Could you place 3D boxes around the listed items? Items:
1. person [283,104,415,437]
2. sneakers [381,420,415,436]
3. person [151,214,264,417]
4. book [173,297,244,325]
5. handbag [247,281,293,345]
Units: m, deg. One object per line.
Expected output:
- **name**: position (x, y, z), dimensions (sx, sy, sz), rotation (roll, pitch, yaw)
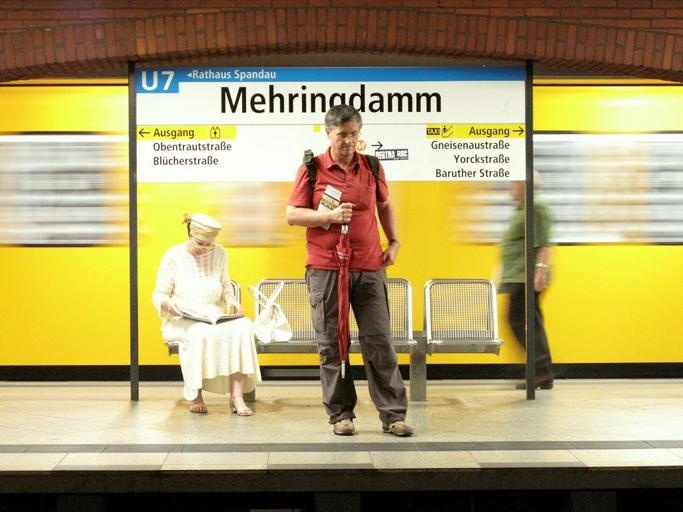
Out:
- **person**: position (0.064, 0.132, 6.553), dimensions (0.995, 2.631, 0.628), rotation (1, 7, 2)
- **sneakers**: position (0.437, 1.361, 6.455), dimensions (0.099, 0.095, 0.247), rotation (5, -10, -44)
- **person**: position (-1.139, 0.538, 7.323), dimensions (0.949, 1.797, 0.669), rotation (7, 9, 43)
- **book**: position (-1.181, 0.499, 7.270), dimensions (0.566, 0.161, 0.373), rotation (-2, 8, -25)
- **handbag**: position (-0.645, 0.527, 7.546), dimensions (0.397, 0.547, 0.357), rotation (-7, 7, 8)
